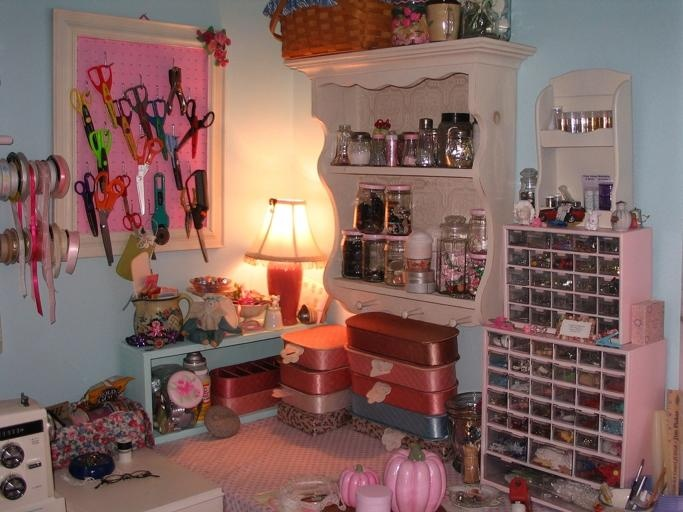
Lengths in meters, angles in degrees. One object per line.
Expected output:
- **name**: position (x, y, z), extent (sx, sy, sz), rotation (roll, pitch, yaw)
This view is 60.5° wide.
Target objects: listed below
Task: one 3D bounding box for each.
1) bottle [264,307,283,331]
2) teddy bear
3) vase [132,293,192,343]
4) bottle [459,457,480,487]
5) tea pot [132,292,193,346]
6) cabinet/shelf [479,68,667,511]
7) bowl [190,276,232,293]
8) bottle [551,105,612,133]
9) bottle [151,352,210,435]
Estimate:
- **bottle**: position (-0.323, 0.297, 2.706), extent (0.083, 0.091, 0.090), rotation (-1, -2, 23)
- **teddy bear**: position (-0.576, 0.203, 2.511), extent (0.314, 0.230, 0.187), rotation (2, 9, -12)
- **vase**: position (-0.792, 0.253, 2.560), extent (0.212, 0.159, 0.150), rotation (4, -10, -36)
- **bottle**: position (0.456, 0.759, 2.082), extent (0.061, 0.090, 0.058), rotation (-1, 9, 0)
- **tea pot**: position (-0.778, 0.284, 2.564), extent (0.167, 0.181, 0.238), rotation (-9, -11, 40)
- **cabinet/shelf**: position (0.779, 0.094, 1.942), extent (0.429, 1.415, 0.514), rotation (-10, 12, -43)
- **bowl**: position (-0.619, 0.130, 2.699), extent (0.208, 0.081, 0.149), rotation (-1, 10, 1)
- **bottle**: position (0.821, -0.458, 2.011), extent (0.092, 0.046, 0.119), rotation (-5, 8, -44)
- **bottle**: position (-0.672, 0.583, 2.453), extent (0.221, 0.309, 0.295), rotation (0, -4, -25)
